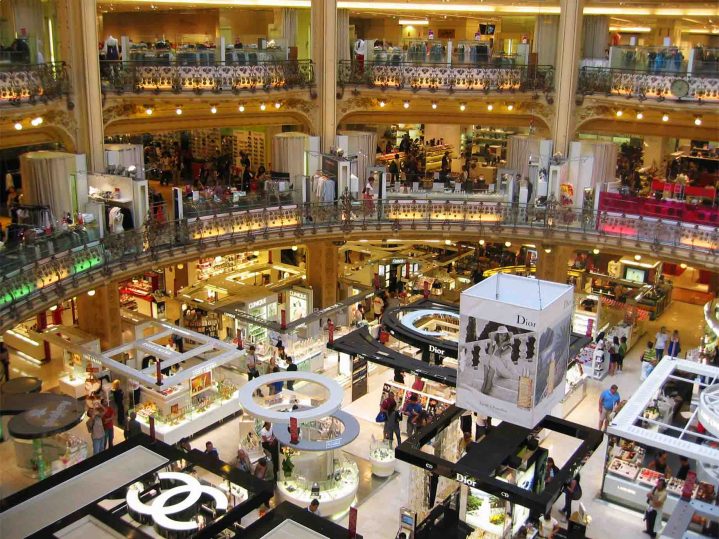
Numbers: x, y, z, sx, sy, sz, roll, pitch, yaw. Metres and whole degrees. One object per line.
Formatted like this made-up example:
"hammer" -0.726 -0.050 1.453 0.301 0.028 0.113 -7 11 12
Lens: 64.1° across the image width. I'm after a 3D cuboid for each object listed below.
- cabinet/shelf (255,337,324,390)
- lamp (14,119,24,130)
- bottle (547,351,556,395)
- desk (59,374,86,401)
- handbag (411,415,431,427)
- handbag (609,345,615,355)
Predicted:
"cabinet/shelf" -2.052 2.761 18.388 1.572 0.722 1.693 -18 28 -41
"lamp" -9.834 -4.109 16.459 0.259 0.251 0.260 -4 24 -5
"bottle" 3.225 1.748 9.663 0.040 0.712 0.375 9 16 34
"desk" -8.106 3.298 16.354 1.035 0.651 0.484 9 16 33
"handbag" 1.566 3.930 14.839 0.443 0.432 0.134 8 16 30
"handbag" 8.502 2.711 19.412 0.195 0.276 0.084 10 -3 -34
